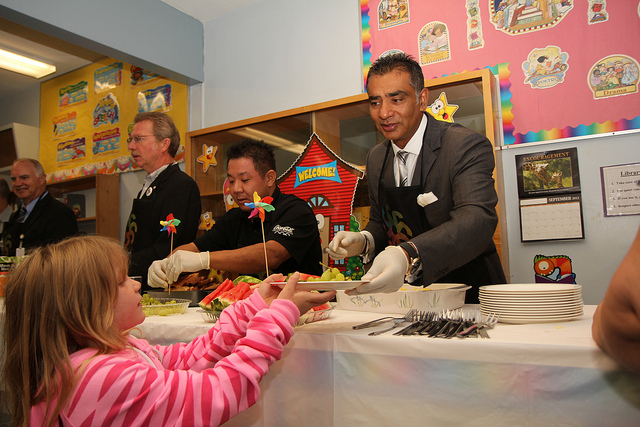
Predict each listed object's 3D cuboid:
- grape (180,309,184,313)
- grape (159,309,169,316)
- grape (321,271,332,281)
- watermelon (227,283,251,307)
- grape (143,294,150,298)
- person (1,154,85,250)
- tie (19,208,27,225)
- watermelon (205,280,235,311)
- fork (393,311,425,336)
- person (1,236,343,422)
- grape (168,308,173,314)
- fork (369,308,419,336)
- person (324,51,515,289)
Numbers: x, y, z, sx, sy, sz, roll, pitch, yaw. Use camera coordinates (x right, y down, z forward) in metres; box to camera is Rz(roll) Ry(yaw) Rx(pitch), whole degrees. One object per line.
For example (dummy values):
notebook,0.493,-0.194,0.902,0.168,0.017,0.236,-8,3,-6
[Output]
grape,-0.631,0.443,1.972,0.014,0.014,0.008,4,3,14
grape,-0.689,0.433,1.901,0.013,0.030,0.042,-1,-1,36
grape,0.025,0.245,1.690,0.028,0.041,0.029,14,-20,-27
watermelon,-0.318,0.313,1.693,0.032,0.033,0.122,5,37,19
grape,-0.862,0.407,2.141,0.033,0.012,0.034,0,-3,3
person,-2.768,-0.128,4.319,0.868,0.914,0.480,-12,-11,25
tie,-2.960,0.017,4.292,0.046,0.162,0.116,12,4,-41
watermelon,-0.398,0.333,1.739,0.103,0.033,0.080,-43,15,-10
fork,0.321,0.355,1.498,0.040,0.046,0.306,-2,2,29
person,-0.479,0.391,1.502,0.928,0.488,0.597,-1,-3,-18
grape,-0.666,0.433,1.920,0.020,0.028,0.015,0,-1,-31
fork,0.284,0.351,1.560,0.055,0.059,0.398,-6,1,34
person,0.426,-0.239,1.955,0.692,0.944,0.985,-1,-1,22
